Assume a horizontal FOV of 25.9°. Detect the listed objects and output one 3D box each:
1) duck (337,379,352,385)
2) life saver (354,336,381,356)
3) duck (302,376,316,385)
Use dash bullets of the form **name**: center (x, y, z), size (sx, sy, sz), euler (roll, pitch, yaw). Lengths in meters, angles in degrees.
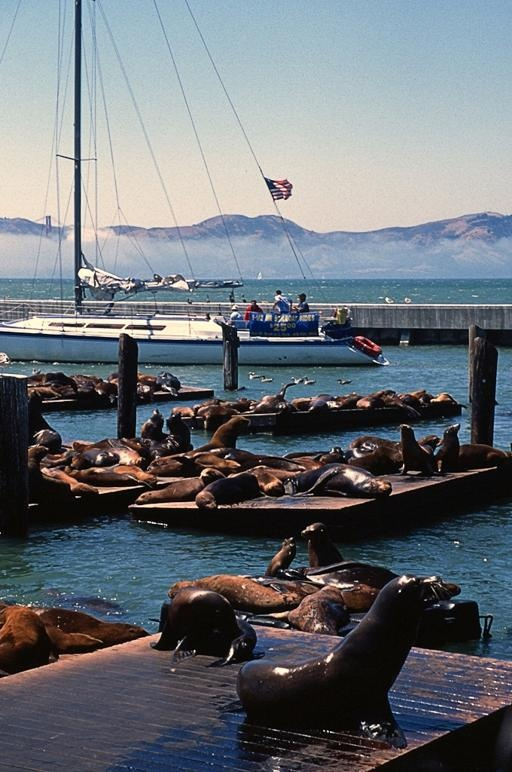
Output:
- **duck**: center (2.538, -0.124, 31.696), size (0.448, 0.244, 0.161), euler (-6, -15, 15)
- **life saver**: center (3.775, -1.275, 38.007), size (0.856, 0.300, 0.655), euler (32, 18, 13)
- **duck**: center (1.529, -0.201, 31.076), size (0.338, 0.172, 0.343), euler (-7, -6, 33)
